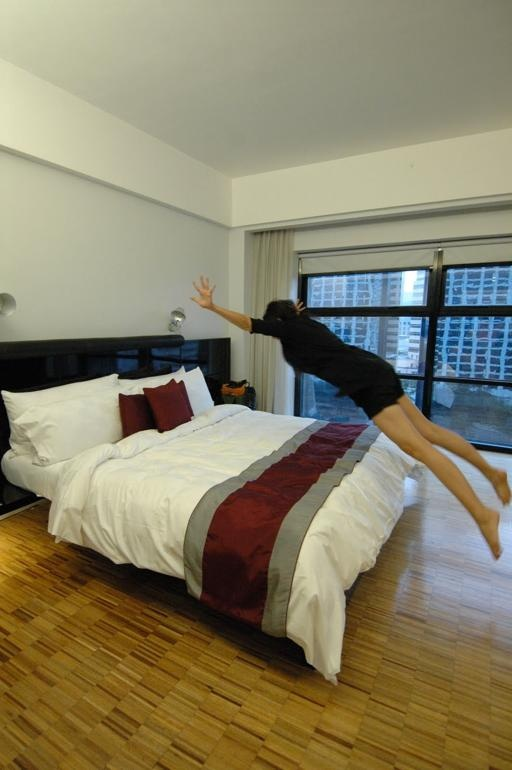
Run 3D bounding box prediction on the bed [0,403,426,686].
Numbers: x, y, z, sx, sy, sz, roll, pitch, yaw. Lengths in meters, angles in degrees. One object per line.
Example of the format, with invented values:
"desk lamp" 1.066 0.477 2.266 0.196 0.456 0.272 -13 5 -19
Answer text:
"bed" -0.215 0.566 2.288 1.329 0.331 1.248 11 14 22
